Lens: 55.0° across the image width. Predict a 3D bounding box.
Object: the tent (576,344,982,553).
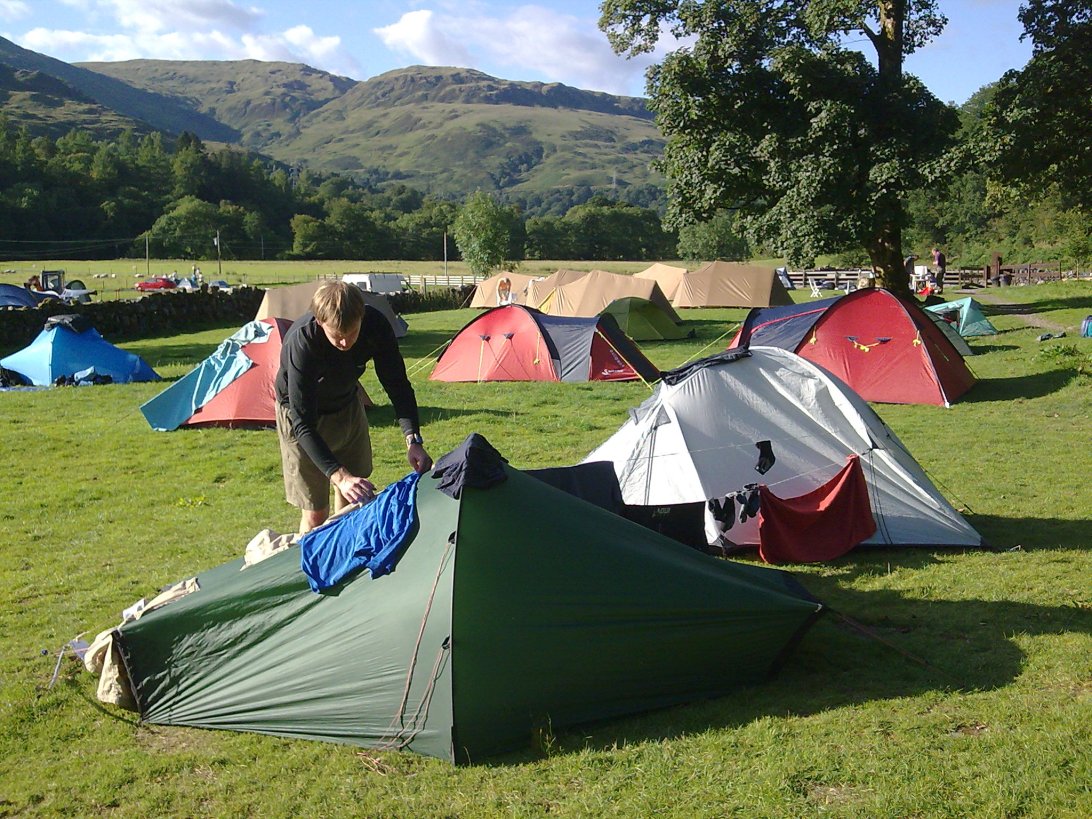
[{"bbox_3d":[2.476,0.692,11.225,2.648,1.266,2.505,-6,7,-31],"label":"tent"}]
